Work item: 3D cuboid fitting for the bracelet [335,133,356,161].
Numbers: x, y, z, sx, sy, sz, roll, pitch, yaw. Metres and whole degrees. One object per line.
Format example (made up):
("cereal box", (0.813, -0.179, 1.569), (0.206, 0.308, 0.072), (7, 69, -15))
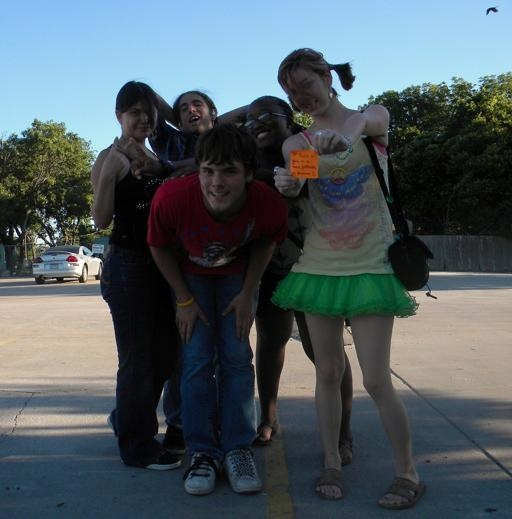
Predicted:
("bracelet", (0.402, -0.503, 2.503), (0.047, 0.112, 0.087), (-4, 9, -8))

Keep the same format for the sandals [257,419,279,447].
("sandals", (0.073, 1.071, 3.444), (0.120, 0.086, 0.330), (2, -4, 12))

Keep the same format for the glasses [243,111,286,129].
("glasses", (0.066, -0.833, 3.333), (0.133, 0.038, 0.131), (-13, -6, -43))

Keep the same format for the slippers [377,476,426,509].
("slippers", (0.656, 1.041, 2.510), (0.126, 0.098, 0.194), (0, 3, 42))

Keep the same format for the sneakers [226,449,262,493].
("sneakers", (-0.064, 1.024, 2.737), (0.157, 0.155, 0.254), (-3, 3, -11))

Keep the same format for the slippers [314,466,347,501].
("slippers", (0.347, 1.050, 2.633), (0.134, 0.098, 0.148), (-2, 3, 6))

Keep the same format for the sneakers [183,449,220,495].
("sneakers", (-0.265, 1.030, 2.700), (0.121, 0.151, 0.200), (-2, 3, 9))

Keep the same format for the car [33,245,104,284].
("car", (-6.823, 0.217, 20.249), (1.305, 0.843, 2.645), (-2, -9, 2))

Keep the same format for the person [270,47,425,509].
("person", (0.428, 0.056, 2.699), (0.717, 2.123, 0.572), (0, 4, 32))

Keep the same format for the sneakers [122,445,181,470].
("sneakers", (-0.557, 1.066, 3.032), (0.325, 0.122, 0.117), (1, -7, -3))

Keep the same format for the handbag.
("handbag", (0.762, -0.002, 2.739), (0.200, 0.374, 0.286), (-1, 3, 17))
